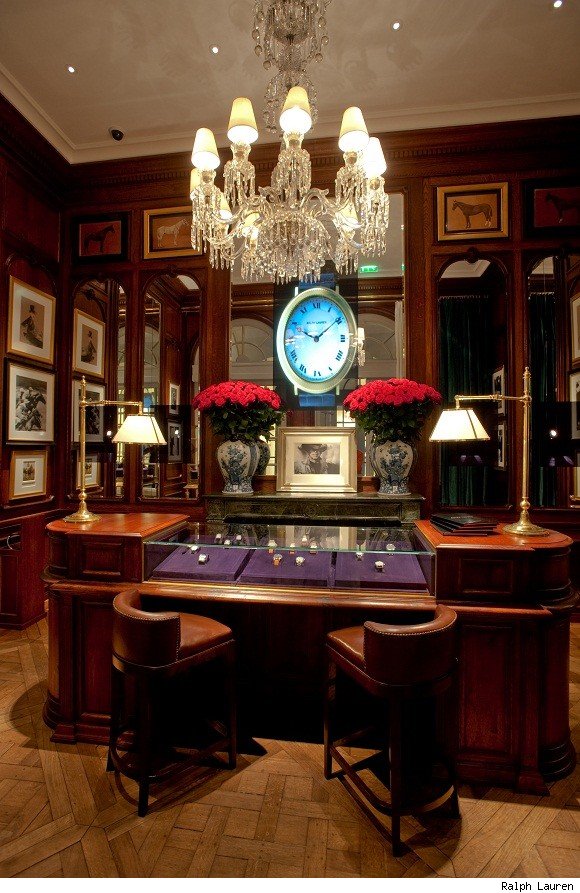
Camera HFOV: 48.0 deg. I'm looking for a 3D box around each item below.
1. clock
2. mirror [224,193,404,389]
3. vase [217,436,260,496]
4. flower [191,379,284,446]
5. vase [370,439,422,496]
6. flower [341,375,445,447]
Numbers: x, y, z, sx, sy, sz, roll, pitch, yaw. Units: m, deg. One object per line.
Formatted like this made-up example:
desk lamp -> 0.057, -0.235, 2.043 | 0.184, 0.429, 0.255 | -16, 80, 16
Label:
clock -> 0.217, -0.711, 4.548 | 0.742, 1.011, 0.098 | 0, -4, 14
mirror -> 0.165, -0.972, 4.229 | 1.279, 1.455, 0.154 | 0, -3, 13
vase -> -0.314, 0.121, 4.202 | 0.344, 0.526, 0.286 | 1, -2, -2
flower -> -0.305, -0.235, 4.001 | 0.391, 0.303, 0.419 | 0, 8, -2
vase -> 0.624, 0.127, 3.960 | 0.263, 0.356, 0.296 | 0, -4, 2
flower -> 0.626, -0.226, 3.913 | 0.404, 0.327, 0.443 | -2, 2, -29
